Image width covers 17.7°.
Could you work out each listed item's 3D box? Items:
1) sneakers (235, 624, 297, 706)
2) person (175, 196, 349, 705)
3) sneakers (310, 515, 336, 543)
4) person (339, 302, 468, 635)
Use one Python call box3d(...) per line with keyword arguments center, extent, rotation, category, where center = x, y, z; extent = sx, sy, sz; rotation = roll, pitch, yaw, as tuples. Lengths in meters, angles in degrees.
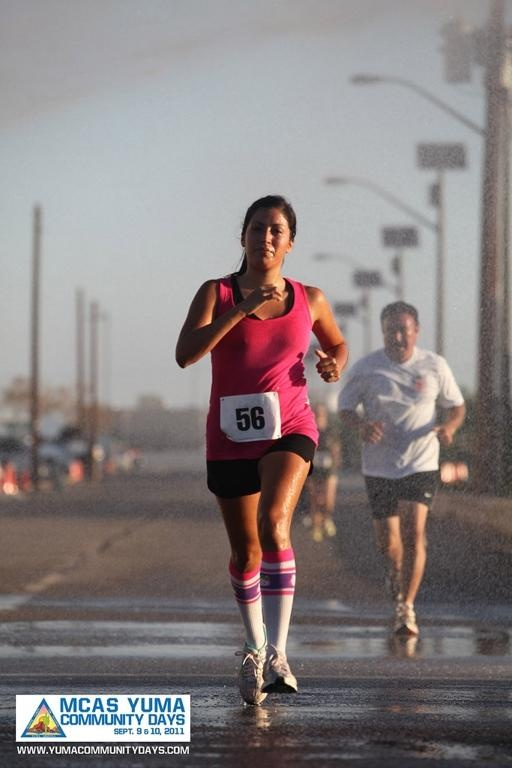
box3d(center=(0.030, 1.038, 5.828), extent=(0.124, 0.146, 0.316), rotation=(3, -15, -14), category="sneakers")
box3d(center=(0.003, 0.231, 6.029), extent=(0.542, 1.796, 0.704), rotation=(-3, 1, 19), category="person")
box3d(center=(0.311, 0.685, 7.725), extent=(0.125, 0.121, 0.045), rotation=(-13, -25, 38), category="sneakers")
box3d(center=(0.690, 0.375, 7.699), extent=(0.469, 1.465, 0.394), rotation=(-4, 1, -36), category="person")
